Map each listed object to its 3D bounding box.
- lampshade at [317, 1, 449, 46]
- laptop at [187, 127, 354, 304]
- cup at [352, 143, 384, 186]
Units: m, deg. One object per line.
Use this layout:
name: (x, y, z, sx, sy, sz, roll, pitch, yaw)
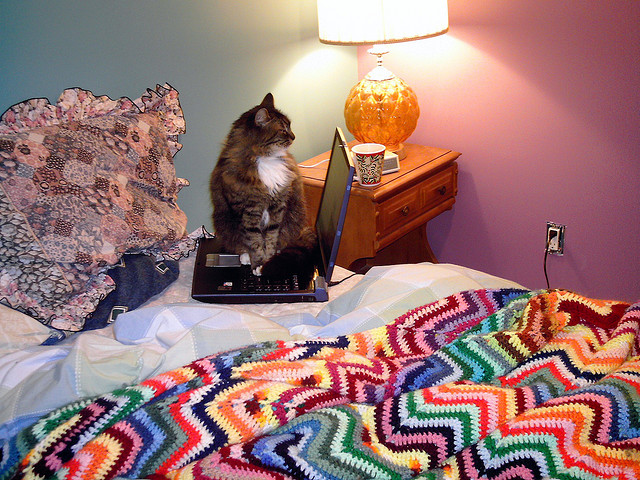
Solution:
lampshade: (0.256, -0.939, 2.137, 0.443, 0.208, 0.465, -7, 25, -9)
laptop: (-0.175, -0.107, 1.651, 0.543, 0.437, 0.625, -5, 17, -14)
cup: (0.182, -0.298, 2.025, 0.171, 0.134, 0.117, -2, 12, 15)
